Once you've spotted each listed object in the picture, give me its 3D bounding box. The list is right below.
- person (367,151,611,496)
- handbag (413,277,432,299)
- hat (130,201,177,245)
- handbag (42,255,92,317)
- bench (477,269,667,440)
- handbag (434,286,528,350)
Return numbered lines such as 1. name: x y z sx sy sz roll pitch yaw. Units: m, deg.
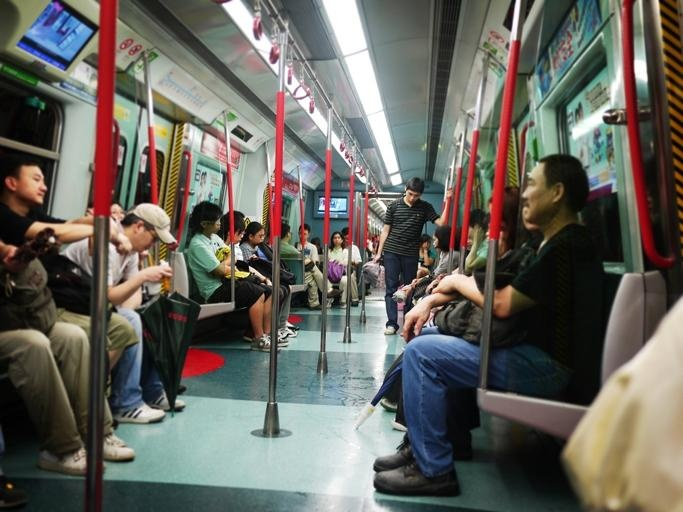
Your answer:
1. person: 0.745 0.375 2.519 0.986 1.759 0.696 4 -6 18
2. handbag: 0.881 0.318 5.270 0.097 0.282 0.187 38 -24 -31
3. hat: -1.355 -0.223 3.445 0.369 0.207 0.232 24 -23 -15
4. handbag: -1.639 0.192 2.827 0.356 0.303 0.146 23 -42 -40
5. bench: 1.124 0.389 2.420 0.728 0.943 0.560 8 1 39
6. handbag: 0.717 0.326 2.409 0.277 0.160 0.365 7 0 38
